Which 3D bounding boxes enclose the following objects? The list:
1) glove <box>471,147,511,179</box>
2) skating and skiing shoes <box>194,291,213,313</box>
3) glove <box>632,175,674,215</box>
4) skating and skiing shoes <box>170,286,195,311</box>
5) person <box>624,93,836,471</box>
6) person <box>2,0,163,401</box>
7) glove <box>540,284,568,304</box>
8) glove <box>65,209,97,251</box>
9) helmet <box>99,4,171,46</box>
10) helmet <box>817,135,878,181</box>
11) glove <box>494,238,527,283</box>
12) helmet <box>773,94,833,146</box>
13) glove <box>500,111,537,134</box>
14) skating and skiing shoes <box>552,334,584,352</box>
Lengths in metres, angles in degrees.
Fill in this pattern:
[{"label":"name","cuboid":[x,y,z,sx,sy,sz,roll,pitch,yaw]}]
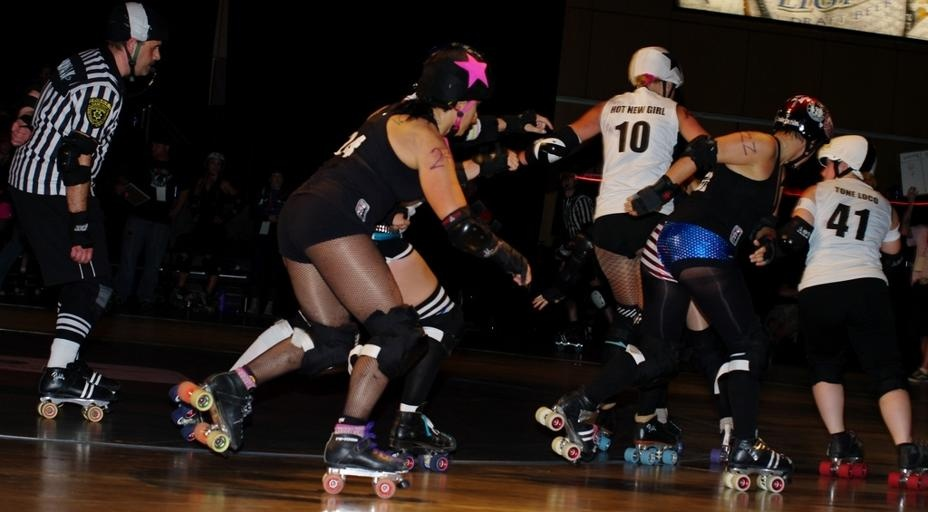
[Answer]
[{"label":"glove","cuboid":[0.237,-0.812,6.309,0.281,0.119,0.284,-9,1,15]},{"label":"skating and skiing shoes","cuboid":[-4.112,0.714,11.549,0.306,0.260,0.257,-3,-5,23]},{"label":"glove","cuboid":[1.597,-0.532,6.221,0.411,0.238,0.153,-34,13,-1]},{"label":"skating and skiing shoes","cuboid":[-4.420,0.666,11.503,0.400,0.184,0.292,3,6,-23]},{"label":"person","cuboid":[2.163,0.156,6.211,1.442,3.117,0.729,6,7,12]},{"label":"person","cuboid":[-3.372,-0.539,6.393,1.167,3.468,0.684,3,7,-11]},{"label":"glove","cuboid":[0.849,0.359,6.957,0.202,0.072,0.212,-3,-12,33]},{"label":"glove","cuboid":[-3.293,-0.243,6.369,0.157,0.328,0.209,7,7,24]},{"label":"helmet","cuboid":[-2.986,-2.105,6.608,0.505,0.320,0.371,3,11,-19]},{"label":"helmet","cuboid":[3.497,-0.884,6.560,0.464,0.363,0.354,17,0,37]},{"label":"glove","cuboid":[0.376,0.033,5.639,0.123,0.217,0.348,-36,-64,29]},{"label":"helmet","cuboid":[2.874,-1.187,6.374,0.487,0.439,0.400,8,7,-6]},{"label":"glove","cuboid":[0.501,-1.273,6.982,0.384,0.209,0.282,2,17,-10]},{"label":"skating and skiing shoes","cuboid":[1.633,1.343,11.389,0.397,0.148,0.262,6,6,26]}]
